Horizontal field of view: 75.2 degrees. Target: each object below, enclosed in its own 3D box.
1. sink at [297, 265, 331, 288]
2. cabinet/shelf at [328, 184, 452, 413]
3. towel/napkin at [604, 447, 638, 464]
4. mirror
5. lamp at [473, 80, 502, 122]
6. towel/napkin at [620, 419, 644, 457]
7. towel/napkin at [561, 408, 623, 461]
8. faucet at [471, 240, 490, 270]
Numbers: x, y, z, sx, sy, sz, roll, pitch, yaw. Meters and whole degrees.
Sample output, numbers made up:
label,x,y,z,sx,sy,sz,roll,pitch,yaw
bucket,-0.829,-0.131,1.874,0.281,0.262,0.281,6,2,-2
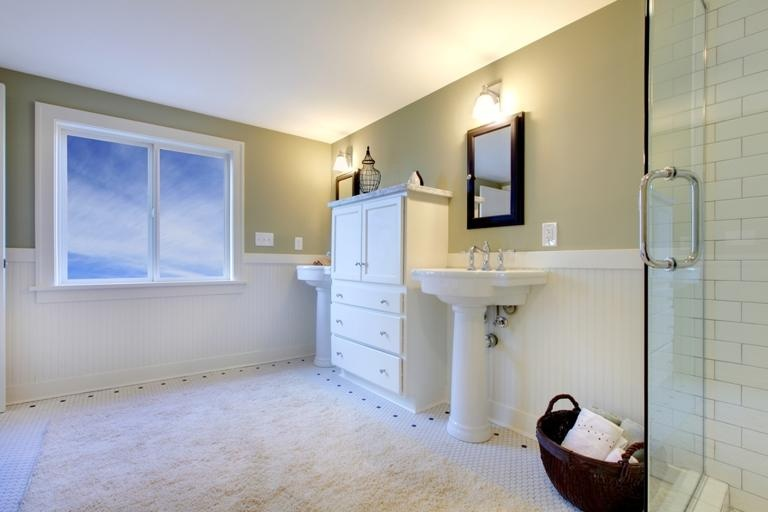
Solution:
label,x,y,z,sx,sy,sz,roll,pitch,yaw
sink,-0.640,0.205,4.823,0.180,0.220,0.518,-5,6,-39
cabinet/shelf,0.027,0.304,4.358,0.597,1.693,1.239,-4,3,-39
towel/napkin,1.362,1.125,2.891,0.110,0.052,0.111,-13,1,-12
mirror,0.848,-0.629,3.769,0.109,0.829,0.489,-6,7,-44
lamp,0.754,-1.165,3.744,0.238,0.300,0.230,2,6,31
towel/napkin,1.525,1.127,3.099,0.162,0.070,0.154,-22,38,-25
towel/napkin,1.269,1.081,3.005,0.276,0.271,0.085,26,-4,41
faucet,0.714,0.004,3.714,0.160,0.202,0.383,0,5,11
